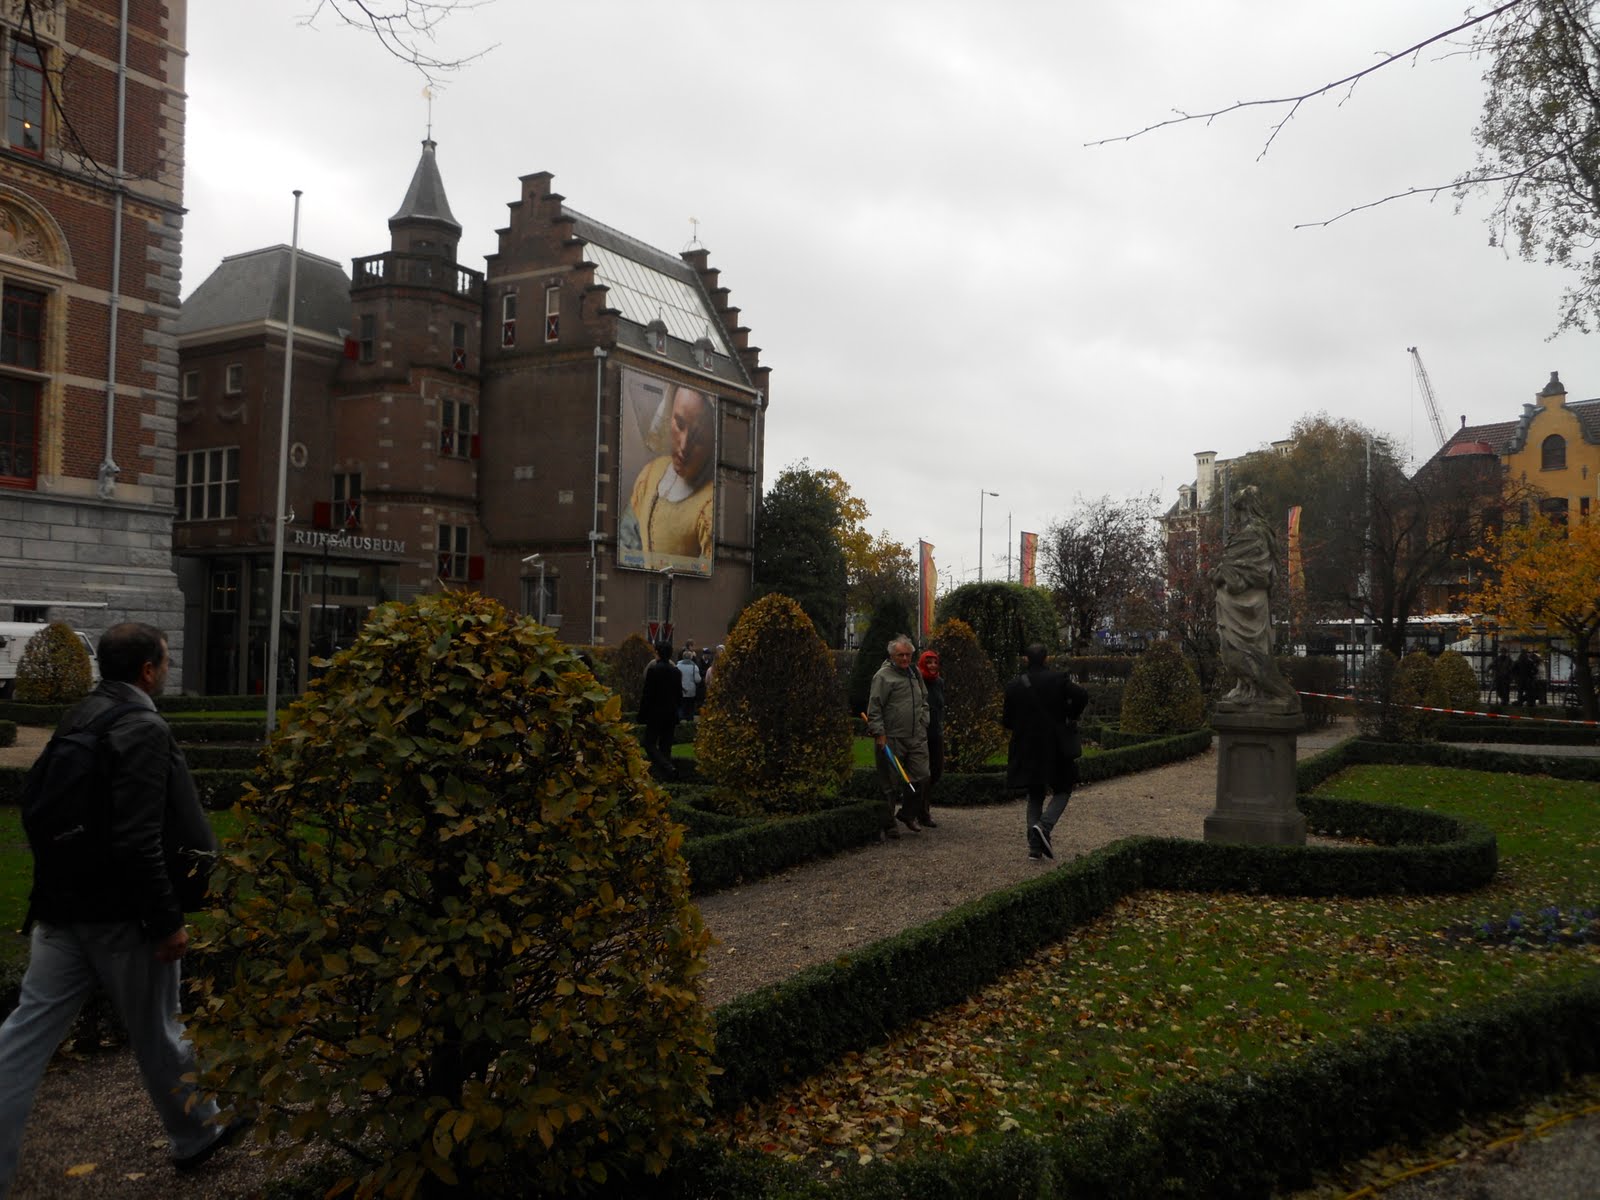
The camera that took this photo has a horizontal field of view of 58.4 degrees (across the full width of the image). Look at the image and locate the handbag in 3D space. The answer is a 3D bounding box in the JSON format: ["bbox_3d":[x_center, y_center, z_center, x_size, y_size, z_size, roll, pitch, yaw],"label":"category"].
[{"bbox_3d":[-3.906,1.119,7.959,0.700,1.489,1.060,1,-6,-27],"label":"handbag"}]

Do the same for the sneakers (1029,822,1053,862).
[{"bbox_3d":[2.346,2.330,13.726,0.300,0.260,0.255,9,6,-9],"label":"sneakers"}]
